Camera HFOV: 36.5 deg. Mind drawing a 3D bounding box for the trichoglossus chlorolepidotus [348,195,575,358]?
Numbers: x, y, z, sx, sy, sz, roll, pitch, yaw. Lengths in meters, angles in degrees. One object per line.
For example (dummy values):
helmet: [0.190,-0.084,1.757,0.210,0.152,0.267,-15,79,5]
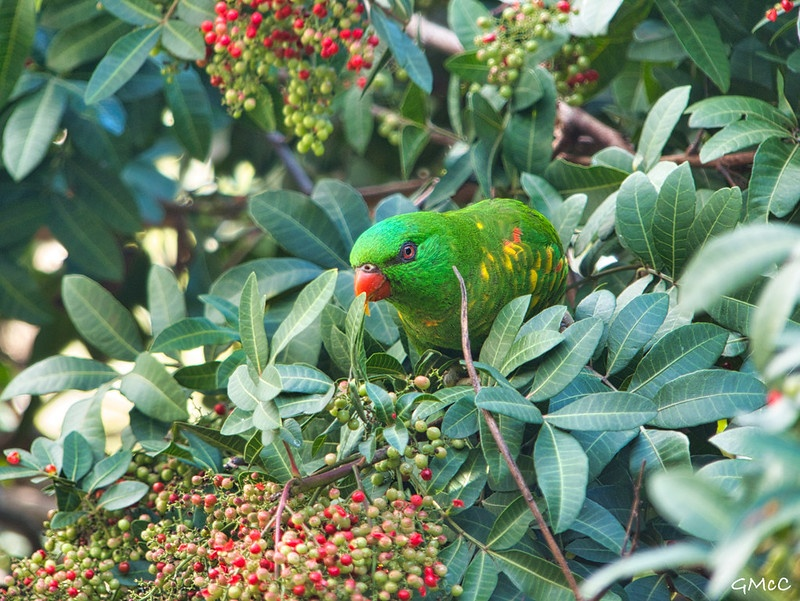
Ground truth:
trichoglossus chlorolepidotus: [0.207,-0.101,4.192,0.720,0.500,0.408,-26,-5,-33]
